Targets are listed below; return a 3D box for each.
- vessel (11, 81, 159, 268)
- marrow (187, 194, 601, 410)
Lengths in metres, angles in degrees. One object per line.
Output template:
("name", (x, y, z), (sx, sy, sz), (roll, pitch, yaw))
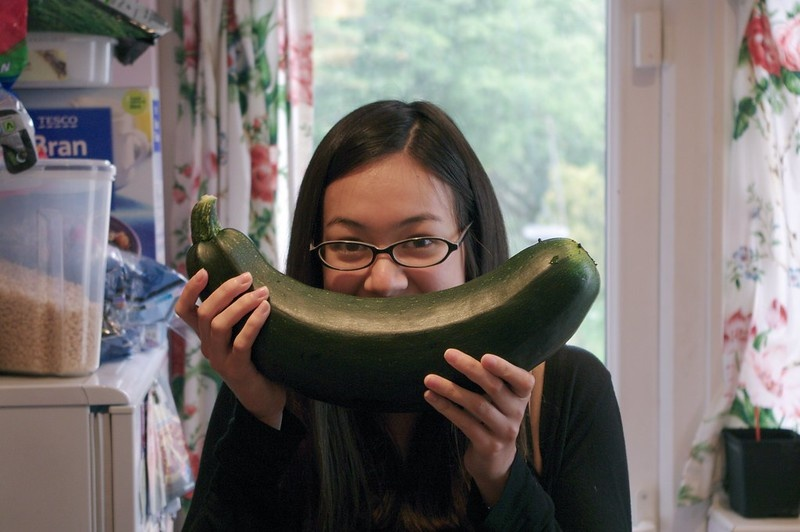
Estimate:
("vessel", (-0.752, -0.258, 2.280), (0.500, 0.467, 0.285), (2, 5, 29))
("marrow", (0.021, 0.128, 1.881), (0.972, 0.591, 0.307), (1, -4, 5))
